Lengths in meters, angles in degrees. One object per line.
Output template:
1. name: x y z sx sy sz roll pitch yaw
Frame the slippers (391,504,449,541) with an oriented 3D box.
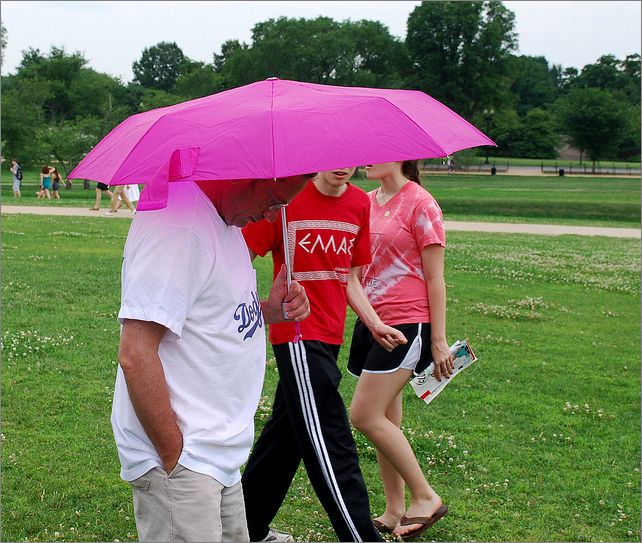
1. slippers: 0.637 1.591 4.640 0.338 0.092 0.135 -37 14 -19
